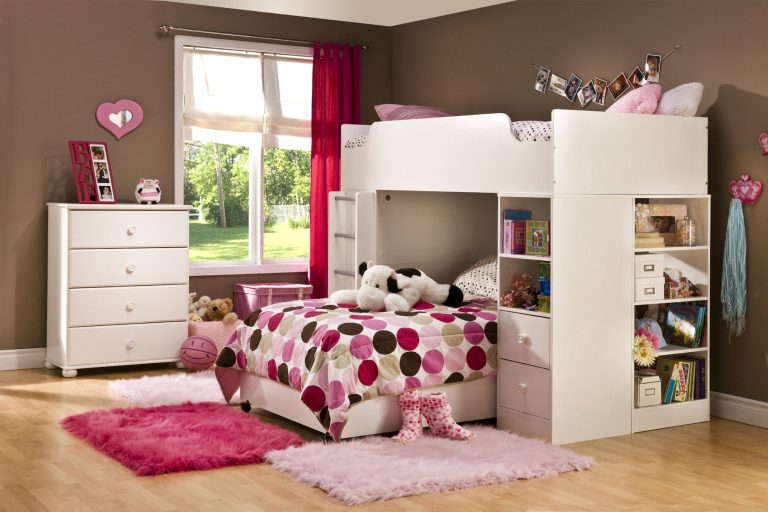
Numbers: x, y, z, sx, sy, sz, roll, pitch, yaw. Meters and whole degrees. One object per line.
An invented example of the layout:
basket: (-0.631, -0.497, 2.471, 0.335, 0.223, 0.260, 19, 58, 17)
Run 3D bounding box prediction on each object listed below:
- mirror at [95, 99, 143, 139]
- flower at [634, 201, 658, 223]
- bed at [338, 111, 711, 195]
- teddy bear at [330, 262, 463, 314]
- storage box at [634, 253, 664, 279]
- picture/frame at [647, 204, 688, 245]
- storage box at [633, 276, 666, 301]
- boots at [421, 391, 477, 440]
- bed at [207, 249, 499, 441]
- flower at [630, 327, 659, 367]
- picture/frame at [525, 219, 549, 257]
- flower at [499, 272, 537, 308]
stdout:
mirror: (-2.503, -1.274, 5.309, 0.369, 0.329, 0.036, -7, 4, -29)
flower: (1.726, -0.280, 3.758, 0.138, 0.131, 0.034, 5, -6, -12)
bed: (0.863, -0.716, 4.096, 2.503, 0.646, 1.056, 2, 3, 32)
teddy bear: (0.077, 0.239, 4.191, 0.920, 0.333, 0.716, -3, 5, -37)
storage box: (1.720, 0.070, 3.699, 0.173, 0.106, 0.166, 0, -1, -30)
picture/frame: (1.933, -0.206, 3.843, 0.335, 0.267, 0.066, -1, 3, -28)
storage box: (1.735, 0.220, 3.697, 0.168, 0.105, 0.170, -1, 2, 1)
boots: (0.412, 0.975, 3.569, 0.424, 0.315, 0.166, 6, 5, 29)
bed: (-0.027, 0.354, 3.712, 1.339, 0.696, 1.227, -3, 5, -39)
flower: (1.708, 0.604, 3.728, 0.248, 0.248, 0.116, -2, 4, -39)
picture/frame: (0.956, -0.103, 3.535, 0.019, 0.252, 0.218, 4, -2, -30)
flower: (0.893, 0.195, 3.730, 0.213, 0.168, 0.081, -15, 0, -25)
